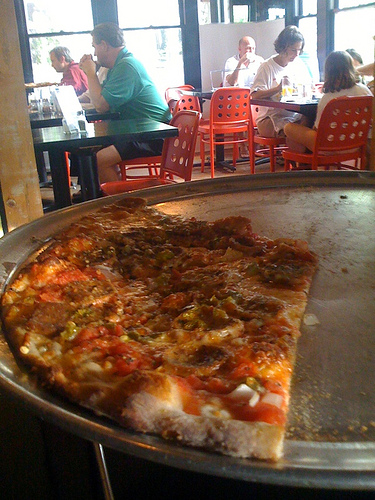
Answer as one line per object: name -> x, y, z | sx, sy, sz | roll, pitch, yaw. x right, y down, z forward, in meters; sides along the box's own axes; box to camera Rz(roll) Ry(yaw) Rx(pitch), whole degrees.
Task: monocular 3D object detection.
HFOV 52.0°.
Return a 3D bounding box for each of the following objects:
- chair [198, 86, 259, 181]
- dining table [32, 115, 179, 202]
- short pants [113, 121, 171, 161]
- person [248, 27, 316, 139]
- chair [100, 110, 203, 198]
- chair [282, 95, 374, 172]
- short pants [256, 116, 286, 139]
chair -> 0.490, -1.389, 4.580 | 0.700, 0.954, 1.721 | 1, 21, 9
dining table -> -0.477, -0.515, 2.544 | 0.768, 0.677, 0.719 | -3, 37, -3
short pants -> -0.343, -0.963, 3.293 | 0.602, 0.142, 0.621 | -15, 35, -20
person -> 1.149, -1.965, 4.569 | 0.810, 1.189, 0.675 | 1, 33, 5
chair -> -0.238, -0.455, 2.396 | 0.534, 0.734, 0.436 | -10, 24, -17
chair -> 1.182, -0.873, 2.969 | 0.656, 0.576, 0.568 | -8, 22, -13
short pants -> 0.866, -1.286, 4.112 | 0.243, 0.155, 0.311 | -1, 27, -25
